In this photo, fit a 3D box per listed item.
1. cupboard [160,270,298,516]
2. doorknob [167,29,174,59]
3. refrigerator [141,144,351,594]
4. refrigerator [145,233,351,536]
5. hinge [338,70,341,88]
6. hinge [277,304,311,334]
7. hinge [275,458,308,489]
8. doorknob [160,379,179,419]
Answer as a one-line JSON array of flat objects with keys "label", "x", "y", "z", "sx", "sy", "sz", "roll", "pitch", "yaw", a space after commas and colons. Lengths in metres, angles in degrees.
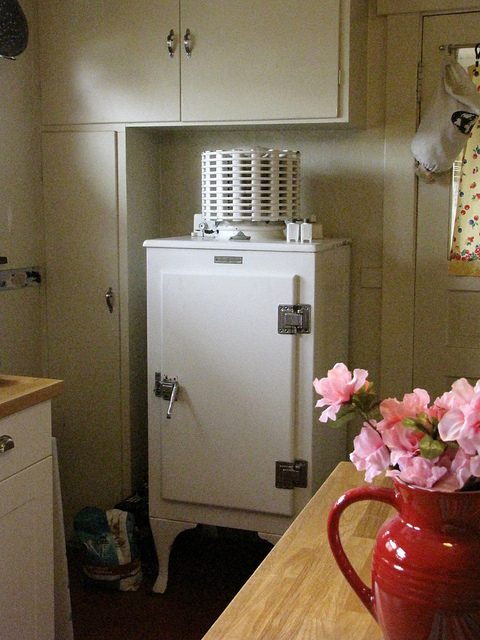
[{"label": "cupboard", "x": 0.001, "y": 0.257, "z": 2.129, "sx": 0.561, "sy": 1.031, "sz": 0.388, "roll": 1, "pitch": 5, "yaw": 19}, {"label": "doorknob", "x": -0.266, "y": -1.073, "z": 2.111, "sx": 0.031, "sy": 0.099, "sz": 0.018, "roll": -4, "pitch": 3, "yaw": 45}, {"label": "refrigerator", "x": 0.102, "y": 0.151, "z": 2.396, "sx": 0.932, "sy": 1.713, "sz": 0.646, "roll": 1, "pitch": 5, "yaw": 19}, {"label": "refrigerator", "x": 0.021, "y": 0.296, "z": 2.261, "sx": 0.666, "sy": 1.186, "sz": 0.660, "roll": 1, "pitch": 2, "yaw": 15}, {"label": "hinge", "x": 0.359, "y": -0.868, "z": 1.957, "sx": 0.008, "sy": 0.045, "sz": 0.029, "roll": 3, "pitch": 2, "yaw": 8}, {"label": "hinge", "x": 0.186, "y": -0.010, "z": 1.861, "sx": 0.100, "sy": 0.106, "sz": 0.070, "roll": 0, "pitch": 4, "yaw": 10}, {"label": "hinge", "x": 0.187, "y": 0.541, "z": 1.937, "sx": 0.102, "sy": 0.105, "sz": 0.054, "roll": 1, "pitch": 5, "yaw": 12}, {"label": "doorknob", "x": -0.260, "y": 0.295, "z": 2.018, "sx": 0.085, "sy": 0.078, "sz": 0.164, "roll": 9, "pitch": 40, "yaw": -13}]
